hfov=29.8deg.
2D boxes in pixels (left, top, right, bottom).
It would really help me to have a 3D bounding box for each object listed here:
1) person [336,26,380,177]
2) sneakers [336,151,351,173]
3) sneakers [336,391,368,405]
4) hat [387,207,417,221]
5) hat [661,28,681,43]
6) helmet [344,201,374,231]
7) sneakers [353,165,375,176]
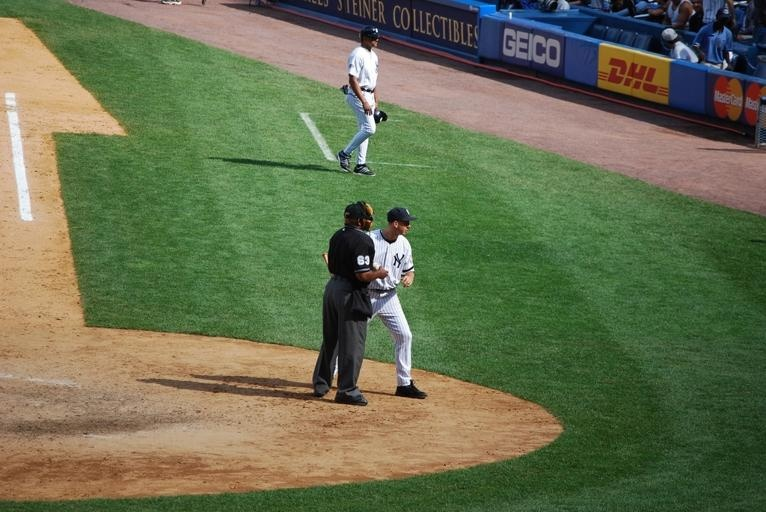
[{"bbox_3d":[-0.399,-3.059,28.740,0.800,3.065,1.409,8,18,-3],"label":"person"},{"bbox_3d":[-0.755,-1.916,29.263,0.279,0.487,0.183,-17,8,30],"label":"sneakers"},{"bbox_3d":[-0.473,2.238,22.364,0.431,0.132,0.215,2,11,19],"label":"sneakers"},{"bbox_3d":[0.306,-0.620,22.351,0.387,0.163,0.234,2,14,-2],"label":"hat"},{"bbox_3d":[7.323,-5.506,36.234,0.506,0.349,0.251,26,-8,30],"label":"hat"},{"bbox_3d":[-0.369,-0.592,22.272,0.427,0.449,0.262,4,18,-10],"label":"helmet"},{"bbox_3d":[-0.396,-1.725,29.283,0.552,0.197,0.155,2,32,2],"label":"sneakers"}]
